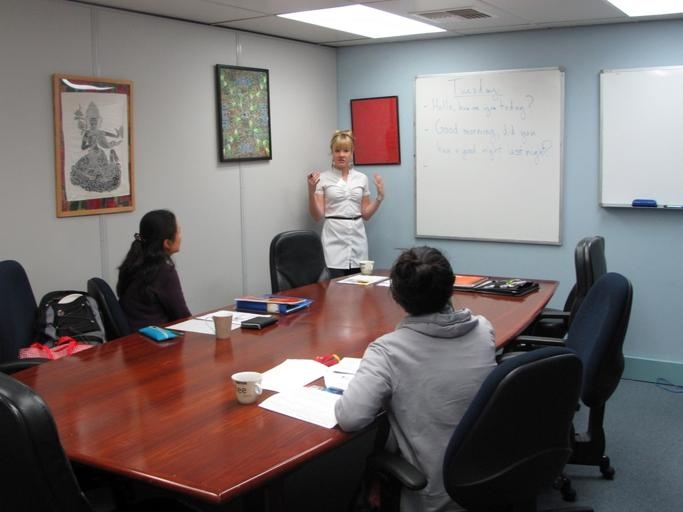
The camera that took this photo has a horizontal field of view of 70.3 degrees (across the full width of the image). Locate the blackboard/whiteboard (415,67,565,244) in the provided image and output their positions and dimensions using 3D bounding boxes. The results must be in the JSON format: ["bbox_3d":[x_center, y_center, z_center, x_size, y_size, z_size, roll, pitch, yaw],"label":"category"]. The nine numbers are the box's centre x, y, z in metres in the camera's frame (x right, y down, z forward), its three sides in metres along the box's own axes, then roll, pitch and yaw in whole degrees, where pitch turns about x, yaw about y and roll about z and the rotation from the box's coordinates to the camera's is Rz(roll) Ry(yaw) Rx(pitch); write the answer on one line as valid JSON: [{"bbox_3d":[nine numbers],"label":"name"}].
[{"bbox_3d":[1.525,-1.039,4.812,1.674,1.986,0.129,4,9,28],"label":"blackboard/whiteboard"}]

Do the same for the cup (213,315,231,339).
[{"bbox_3d":[-0.621,0.378,2.545,0.083,0.111,0.124,-2,4,-20],"label":"cup"}]

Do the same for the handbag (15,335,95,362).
[{"bbox_3d":[-1.532,0.502,2.604,0.221,0.071,0.088,-5,13,-20],"label":"handbag"}]

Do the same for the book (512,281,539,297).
[{"bbox_3d":[1.323,0.238,3.494,0.105,0.050,0.238,4,9,34],"label":"book"}]

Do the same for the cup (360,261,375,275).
[{"bbox_3d":[0.213,0.098,4.096,0.093,0.083,0.114,0,0,20],"label":"cup"}]

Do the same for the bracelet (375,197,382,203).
[{"bbox_3d":[0.381,-0.568,4.923,0.050,0.041,0.054,4,2,19],"label":"bracelet"}]

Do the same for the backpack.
[{"bbox_3d":[-1.621,0.376,2.888,0.358,0.145,0.435,-1,30,-43],"label":"backpack"}]

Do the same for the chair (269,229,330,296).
[{"bbox_3d":[-0.376,0.045,3.990,0.394,0.613,0.491,-4,3,-33],"label":"chair"}]

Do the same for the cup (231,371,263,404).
[{"bbox_3d":[-0.344,0.524,1.881,0.103,0.097,0.146,-2,2,-40],"label":"cup"}]

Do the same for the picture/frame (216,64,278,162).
[{"bbox_3d":[-0.932,-1.355,4.635,0.099,0.866,0.611,9,14,39],"label":"picture/frame"}]

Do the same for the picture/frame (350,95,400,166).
[{"bbox_3d":[0.395,-1.402,5.367,0.746,1.008,0.070,4,10,30],"label":"picture/frame"}]
